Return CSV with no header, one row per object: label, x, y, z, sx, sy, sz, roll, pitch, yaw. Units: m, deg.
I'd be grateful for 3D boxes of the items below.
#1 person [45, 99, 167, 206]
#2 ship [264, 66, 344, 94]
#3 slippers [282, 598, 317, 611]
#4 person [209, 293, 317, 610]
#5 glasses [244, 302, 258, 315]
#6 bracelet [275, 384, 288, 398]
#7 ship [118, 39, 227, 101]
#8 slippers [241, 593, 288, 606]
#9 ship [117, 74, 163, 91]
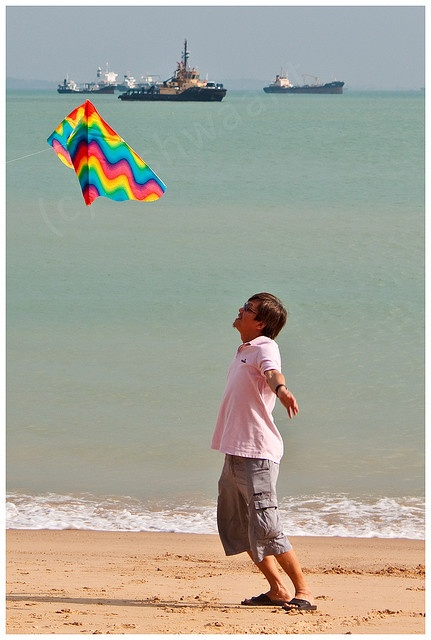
person,-0.733,-1.206,9.441,0.709,0.737,0.335,1,5,-3
ship,1.302,-3.462,19.227,1.144,0.285,1.641,2,6,2
slippers,0.536,1.777,8.035,0.186,0.059,0.077,5,-5,-11
person,0.333,0.833,8.052,0.712,1.964,0.439,6,7,42
glasses,0.224,-0.071,8.103,0.073,0.024,0.070,45,-16,-18
bracelet,0.398,0.433,7.807,0.061,0.072,0.028,-4,-4,23
ship,-0.641,-3.516,19.448,1.638,0.430,1.750,1,6,-1
slippers,0.297,1.742,8.131,0.254,0.074,0.100,6,-1,5
ship,-1.093,-3.406,18.794,0.600,0.255,1.620,1,6,-2
